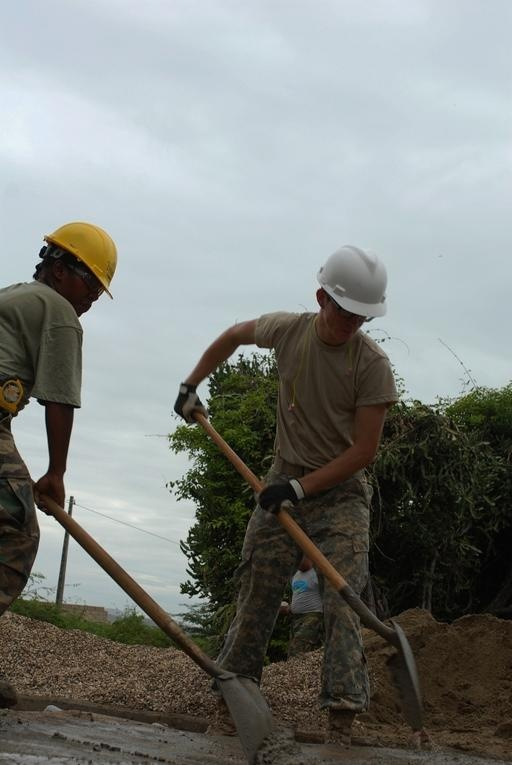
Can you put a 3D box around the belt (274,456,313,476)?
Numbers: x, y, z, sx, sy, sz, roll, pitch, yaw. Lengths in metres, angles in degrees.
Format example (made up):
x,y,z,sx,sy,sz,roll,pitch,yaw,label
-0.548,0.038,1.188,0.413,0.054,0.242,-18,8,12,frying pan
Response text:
x,y,z,sx,sy,sz,roll,pitch,yaw,label
0.198,0.489,4.974,0.172,0.105,0.119,4,-11,4,belt

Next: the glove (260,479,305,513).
x,y,z,sx,sy,sz,roll,pitch,yaw,label
0.133,0.604,4.602,0.249,0.080,0.166,-1,-15,0,glove

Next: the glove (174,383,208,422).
x,y,z,sx,sy,sz,roll,pitch,yaw,label
-0.397,0.119,5.008,0.188,0.218,0.113,-29,1,-24,glove
